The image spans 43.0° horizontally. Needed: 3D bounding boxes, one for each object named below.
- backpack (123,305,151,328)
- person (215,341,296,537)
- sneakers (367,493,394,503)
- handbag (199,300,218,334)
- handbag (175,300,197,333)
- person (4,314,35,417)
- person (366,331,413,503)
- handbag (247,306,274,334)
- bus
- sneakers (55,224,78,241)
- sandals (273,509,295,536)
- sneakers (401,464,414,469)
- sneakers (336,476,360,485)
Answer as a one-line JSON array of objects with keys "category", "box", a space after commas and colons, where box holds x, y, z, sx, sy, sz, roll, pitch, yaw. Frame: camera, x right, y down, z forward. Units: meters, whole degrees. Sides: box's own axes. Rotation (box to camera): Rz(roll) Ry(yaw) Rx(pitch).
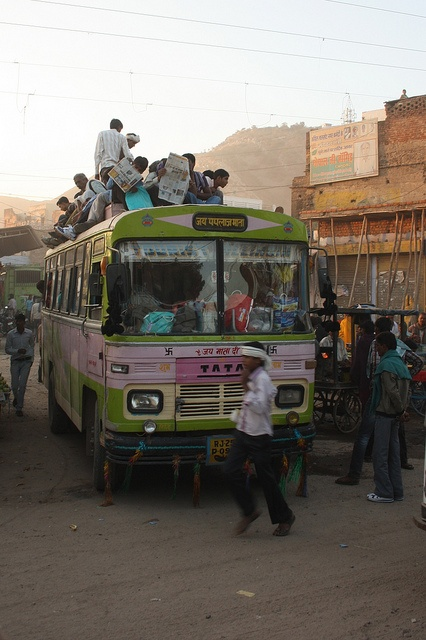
[{"category": "backpack", "box": [-0.697, -0.029, 4.951, 0.224, 0.203, 0.077, 2, 4, -10]}, {"category": "person", "box": [0.378, 0.966, 4.293, 0.529, 1.545, 0.236, 3, 4, 10]}, {"category": "sneakers", "box": [1.681, 1.783, 5.430, 0.237, 0.111, 0.089, -3, -8, 16]}, {"category": "handbag", "box": [-0.047, -0.013, 5.094, 0.249, 0.361, 0.195, 3, -14, -8]}, {"category": "handbag", "box": [-0.257, -0.017, 5.031, 0.215, 0.288, 0.132, 2, 3, -3]}, {"category": "person", "box": [-3.639, 0.856, 10.210, 0.466, 1.923, 0.526, 1, 4, -21]}, {"category": "person", "box": [1.774, 0.982, 5.476, 0.365, 1.682, 0.395, 3, 4, 19]}, {"category": "handbag", "box": [0.473, 0.003, 5.344, 0.215, 0.268, 0.095, 4, -13, -11]}, {"category": "bus", "box": [-0.322, 0.343, 5.521, 1.483, 1.876, 3.791, -1, 1, -15]}, {"category": "sneakers", "box": [-2.090, -1.247, 7.799, 0.211, 0.176, 0.503, -12, 8, -8]}, {"category": "sandals", "box": [0.585, 1.657, 4.410, 0.098, 0.080, 0.275, -8, 6, 28]}, {"category": "sneakers", "box": [2.493, 1.886, 6.938, 0.065, 0.070, 0.172, 1, -4, -37]}, {"category": "sneakers", "box": [1.512, 1.814, 6.081, 0.242, 0.114, 0.107, 4, 0, 7]}]
